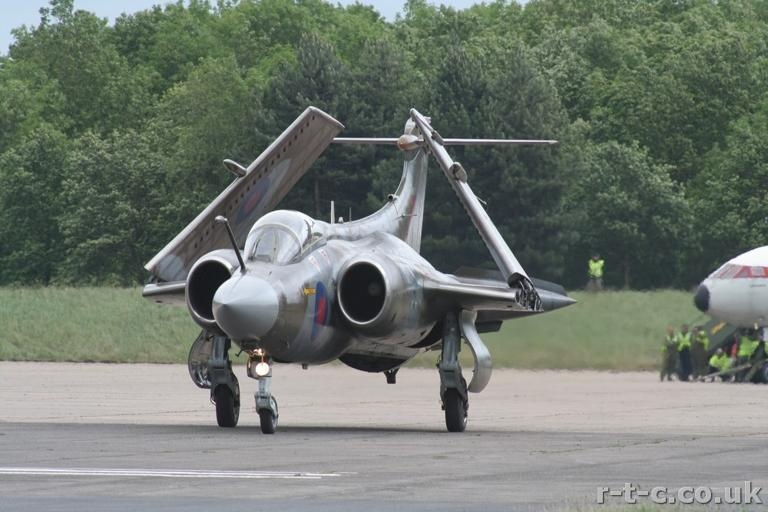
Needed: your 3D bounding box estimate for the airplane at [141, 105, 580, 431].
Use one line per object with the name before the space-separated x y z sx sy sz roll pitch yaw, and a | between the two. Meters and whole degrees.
airplane | -0.473 0.551 62.699 12.635 8.417 13.954 0 -9 19
